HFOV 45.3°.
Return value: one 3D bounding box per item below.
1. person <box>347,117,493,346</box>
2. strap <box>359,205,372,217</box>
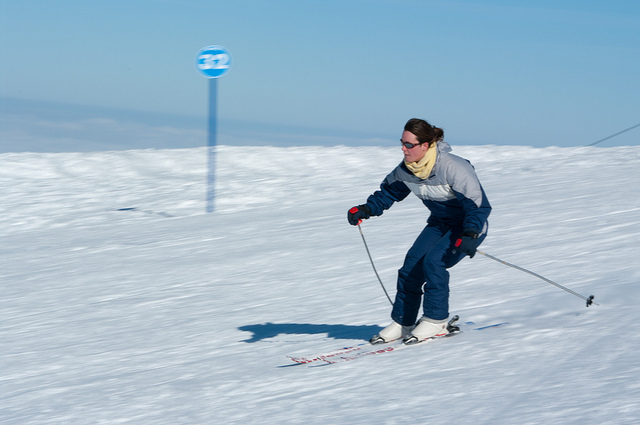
[{"bbox_3d":[1.030,0.214,7.471,1.239,2.230,0.475,9,12,34],"label":"person"},{"bbox_3d":[0.413,-0.027,7.684,0.124,0.040,0.099,31,1,37],"label":"strap"}]
